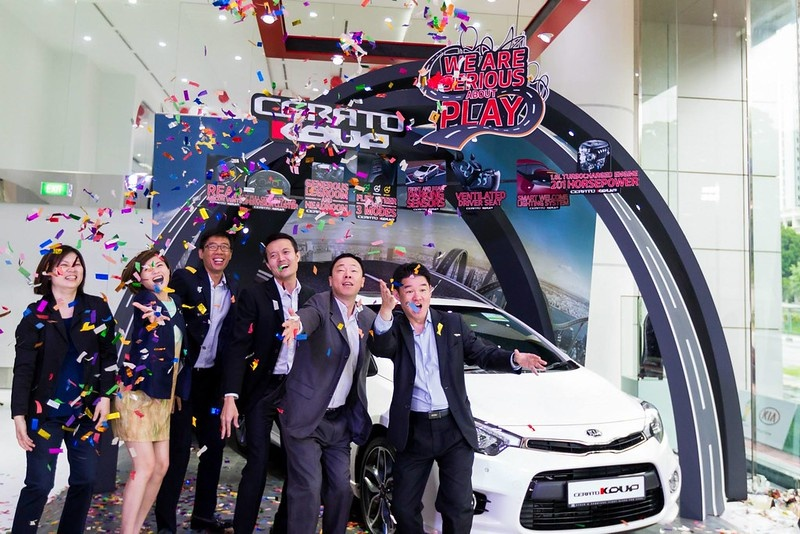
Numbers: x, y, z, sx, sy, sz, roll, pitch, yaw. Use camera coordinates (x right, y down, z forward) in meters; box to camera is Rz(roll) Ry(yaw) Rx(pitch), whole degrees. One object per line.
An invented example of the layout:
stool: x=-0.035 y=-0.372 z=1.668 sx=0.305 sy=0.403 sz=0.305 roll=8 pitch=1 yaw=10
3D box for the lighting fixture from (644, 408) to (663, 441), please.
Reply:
lighting fixture: x=2.366 y=1.441 z=5.366 sx=0.178 sy=0.287 sz=0.080 roll=14 pitch=-41 yaw=-20

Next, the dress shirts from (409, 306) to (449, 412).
dress shirts: x=0.234 y=0.894 z=4.971 sx=0.366 sy=0.619 sz=0.156 roll=-3 pitch=-8 yaw=-4

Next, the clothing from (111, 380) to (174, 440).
clothing: x=-2.205 y=1.279 z=5.113 sx=0.428 sy=0.441 sz=0.423 roll=-3 pitch=-10 yaw=7

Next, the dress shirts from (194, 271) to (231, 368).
dress shirts: x=-1.812 y=0.546 z=5.558 sx=0.524 sy=0.734 sz=0.241 roll=9 pitch=-4 yaw=-20

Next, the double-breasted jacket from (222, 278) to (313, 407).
double-breasted jacket: x=-1.296 y=0.726 z=5.439 sx=0.783 sy=1.076 sz=0.249 roll=-1 pitch=-10 yaw=17
